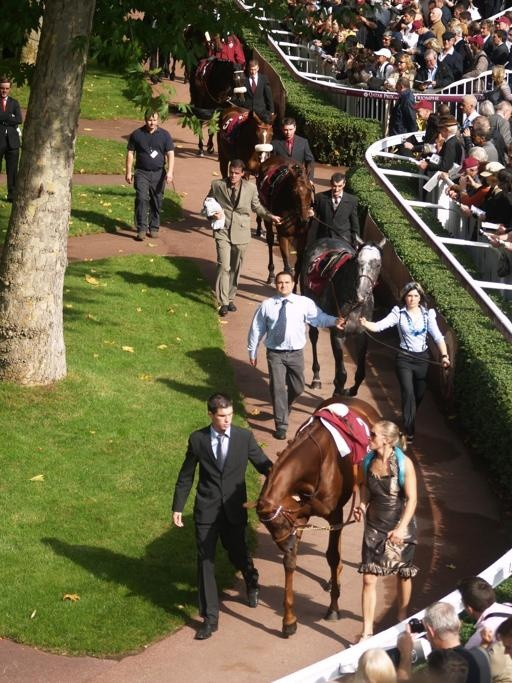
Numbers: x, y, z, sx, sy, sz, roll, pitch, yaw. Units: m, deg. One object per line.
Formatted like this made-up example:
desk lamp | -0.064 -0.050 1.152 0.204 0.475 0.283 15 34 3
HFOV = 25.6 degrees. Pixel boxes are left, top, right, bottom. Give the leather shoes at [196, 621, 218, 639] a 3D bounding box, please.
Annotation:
leather shoes | -0.325 2.655 7.607 0.076 0.100 0.220 5 0 17

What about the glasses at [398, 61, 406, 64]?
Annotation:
glasses | 2.379 -6.625 18.414 0.087 0.033 0.088 4 6 -17

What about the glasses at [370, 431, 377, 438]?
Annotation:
glasses | 0.741 0.744 7.114 0.037 0.058 0.052 -1 7 5

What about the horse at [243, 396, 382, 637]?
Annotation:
horse | 0.493 1.579 8.210 0.657 2.030 2.811 2 11 15

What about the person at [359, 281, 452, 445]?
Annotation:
person | 1.403 0.174 10.639 0.742 2.167 0.538 8 9 5

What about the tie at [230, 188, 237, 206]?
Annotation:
tie | -0.271 -2.693 13.982 0.102 0.307 0.029 12 10 27

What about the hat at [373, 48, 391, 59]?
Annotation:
hat | 2.270 -7.338 19.714 0.353 0.202 0.254 8 14 -29

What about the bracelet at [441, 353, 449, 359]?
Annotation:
bracelet | 1.741 0.061 10.397 0.052 0.038 0.076 7 -19 11

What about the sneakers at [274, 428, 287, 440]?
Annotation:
sneakers | 0.237 1.137 10.956 0.124 0.117 0.255 0 -5 -2

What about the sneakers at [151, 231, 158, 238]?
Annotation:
sneakers | -1.573 -2.546 17.477 0.097 0.122 0.119 -5 0 -6

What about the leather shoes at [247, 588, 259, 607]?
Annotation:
leather shoes | -0.026 2.468 8.017 0.081 0.196 0.077 -2 5 1

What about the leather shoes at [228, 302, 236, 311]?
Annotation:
leather shoes | -0.317 -0.823 14.793 0.122 0.165 0.357 0 -5 -2

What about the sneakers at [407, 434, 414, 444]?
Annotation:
sneakers | 1.481 1.190 10.859 0.037 0.160 0.079 -3 1 9

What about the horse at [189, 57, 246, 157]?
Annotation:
horse | -0.883 -7.525 23.955 0.879 2.522 3.862 1 25 -17

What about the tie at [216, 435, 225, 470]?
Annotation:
tie | -0.241 0.970 7.648 0.050 0.303 0.085 1 11 -33

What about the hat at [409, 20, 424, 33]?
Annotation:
hat | 3.013 -8.491 20.869 0.294 0.258 0.445 -8 18 26
